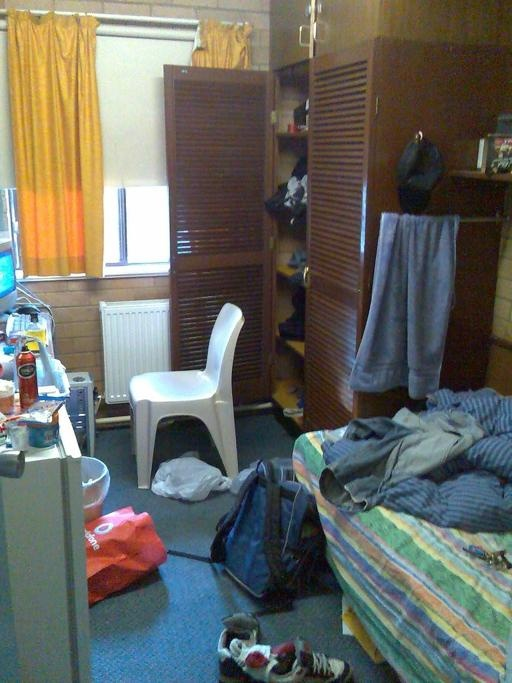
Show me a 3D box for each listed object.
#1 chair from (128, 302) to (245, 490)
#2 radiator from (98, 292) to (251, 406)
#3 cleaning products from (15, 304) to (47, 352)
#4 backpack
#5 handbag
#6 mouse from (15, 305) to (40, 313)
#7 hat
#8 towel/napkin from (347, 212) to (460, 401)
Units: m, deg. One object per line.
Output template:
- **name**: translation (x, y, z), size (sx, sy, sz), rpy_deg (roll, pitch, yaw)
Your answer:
- **chair**: translation (-0.382, 0.254, 2.858), size (0.557, 0.875, 0.639), rpy_deg (3, 10, -2)
- **radiator**: translation (-0.510, 0.027, 3.092), size (0.535, 0.635, 0.078), rpy_deg (-3, 15, -15)
- **cleaning products**: translation (-0.977, -0.063, 2.390), size (0.040, 0.058, 0.127), rpy_deg (-2, 42, 18)
- **backpack**: translation (0.031, 0.715, 2.072), size (0.332, 0.431, 0.220), rpy_deg (15, -3, 34)
- **handbag**: translation (-0.537, 0.757, 2.091), size (0.388, 0.157, 0.306), rpy_deg (-7, 24, -42)
- **mouse**: translation (-1.165, -0.161, 2.762), size (0.084, 0.039, 0.070), rpy_deg (2, 3, 2)
- **hat**: translation (0.628, -0.644, 2.115), size (0.168, 0.298, 0.157), rpy_deg (2, 13, 8)
- **towel/napkin**: translation (0.599, -0.138, 2.211), size (0.401, 0.740, 0.097), rpy_deg (-1, 12, -3)
